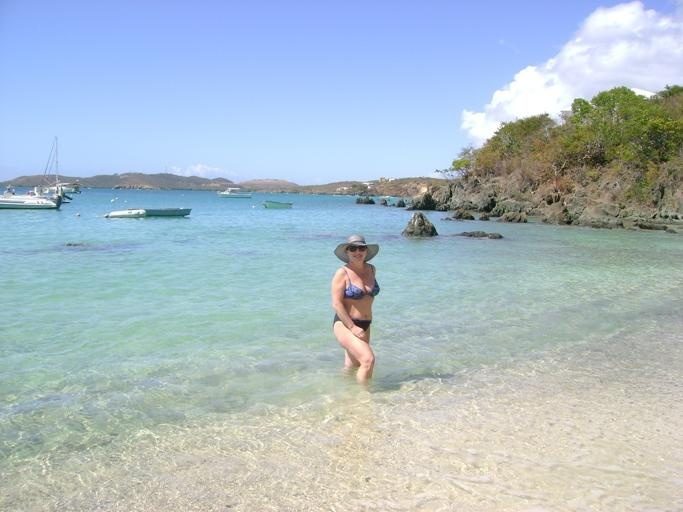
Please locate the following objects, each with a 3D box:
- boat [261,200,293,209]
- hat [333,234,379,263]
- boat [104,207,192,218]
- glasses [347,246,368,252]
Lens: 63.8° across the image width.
[{"bbox_3d":[-10.086,-8.572,92.794,6.821,1.000,1.825,1,-9,-34],"label":"boat"},{"bbox_3d":[0.241,-0.106,8.922,0.647,0.488,0.851,2,6,7],"label":"hat"},{"bbox_3d":[-19.439,-4.178,54.302,5.460,0.943,8.486,2,5,12],"label":"boat"},{"bbox_3d":[0.240,-0.117,8.609,0.286,0.102,0.159,1,6,1],"label":"glasses"}]
